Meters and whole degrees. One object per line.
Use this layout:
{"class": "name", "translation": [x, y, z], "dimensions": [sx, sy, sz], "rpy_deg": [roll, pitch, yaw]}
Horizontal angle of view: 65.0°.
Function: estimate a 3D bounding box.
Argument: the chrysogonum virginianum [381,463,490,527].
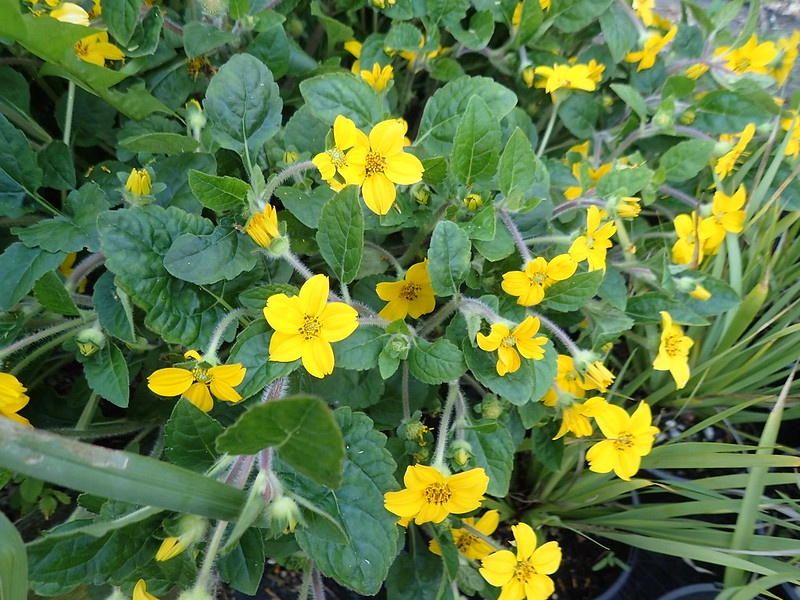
{"class": "chrysogonum virginianum", "translation": [0.083, 0.485, 1.563], "dimensions": [0.250, 0.195, 0.099], "rpy_deg": [5, 52, -18]}
